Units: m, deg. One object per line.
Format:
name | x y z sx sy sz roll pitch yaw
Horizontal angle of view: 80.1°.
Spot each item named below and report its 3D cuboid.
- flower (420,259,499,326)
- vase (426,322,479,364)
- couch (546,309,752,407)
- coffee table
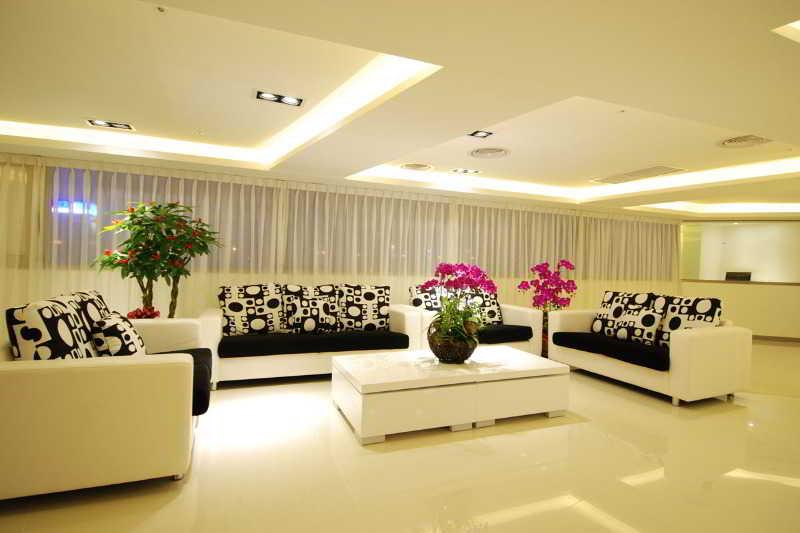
flower | 0.655 0.343 5.580 0.687 0.729 0.546 5 -19 -13
vase | 0.498 0.748 4.596 0.408 0.280 0.424 2 -8 -7
couch | 2.821 0.918 5.633 0.985 0.844 2.010 -10 18 -37
coffee table | 0.453 1.175 4.608 2.135 0.559 0.754 -3 15 -14
